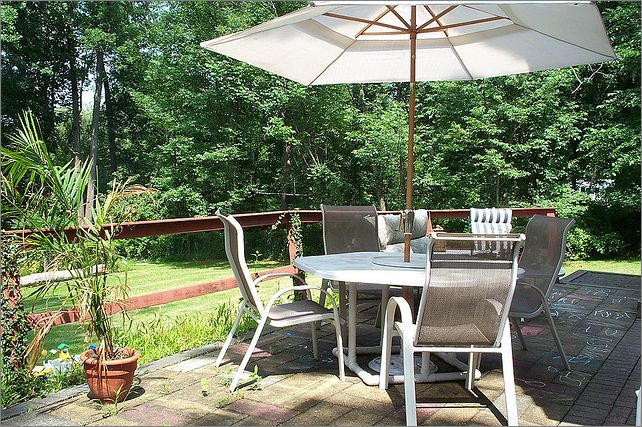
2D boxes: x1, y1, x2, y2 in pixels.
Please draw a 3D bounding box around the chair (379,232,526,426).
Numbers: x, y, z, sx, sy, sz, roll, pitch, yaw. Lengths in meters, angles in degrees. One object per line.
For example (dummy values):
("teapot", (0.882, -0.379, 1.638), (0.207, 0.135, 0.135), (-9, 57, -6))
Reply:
("chair", (0.935, 0.839, 3.414), (0.927, 1.457, 0.733), (2, 11, 7))
